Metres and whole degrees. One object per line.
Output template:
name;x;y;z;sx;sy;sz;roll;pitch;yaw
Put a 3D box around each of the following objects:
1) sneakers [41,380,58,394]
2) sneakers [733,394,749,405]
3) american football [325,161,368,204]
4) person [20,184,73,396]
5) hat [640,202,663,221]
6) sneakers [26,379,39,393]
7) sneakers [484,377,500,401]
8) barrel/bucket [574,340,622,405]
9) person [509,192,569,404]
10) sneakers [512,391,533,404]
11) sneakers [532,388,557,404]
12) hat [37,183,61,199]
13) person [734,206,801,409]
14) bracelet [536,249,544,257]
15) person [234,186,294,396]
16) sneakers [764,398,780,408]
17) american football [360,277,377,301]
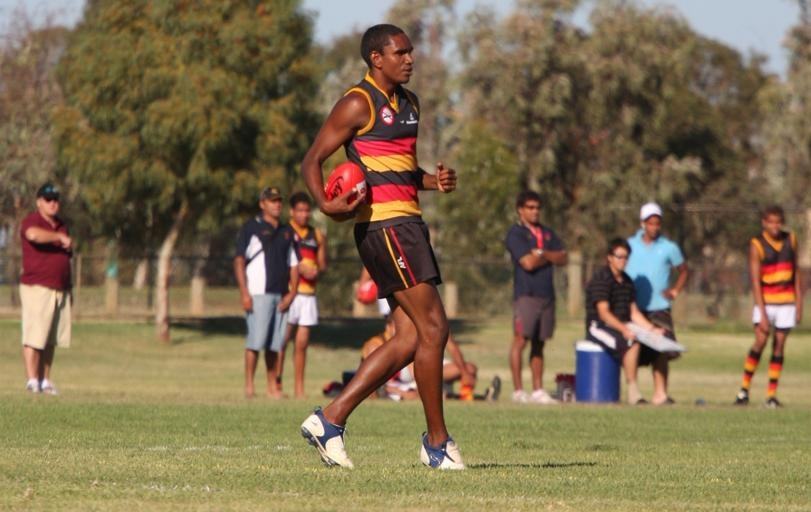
sneakers;-4.838;1.780;25.540;0.103;0.137;0.316;1;-10;45
sneakers;4.648;1.977;25.727;0.194;0.133;0.162;0;-6;11
american football;-0.663;-0.880;21.639;0.272;0.468;0.372;32;26;6
person;-4.921;0.456;25.694;0.714;2.859;0.561;2;-6;-12
hat;3.481;-0.631;26.203;0.249;0.200;0.247;-4;5;-40
sneakers;-5.067;1.774;25.527;0.174;0.175;0.126;-8;-8;36
sneakers;1.307;1.840;26.516;0.217;0.334;0.121;26;20;-2
barrel/bucket;2.774;1.620;26.067;0.735;0.825;0.759;1;-2;0
person;1.809;0.560;26.106;0.789;2.951;0.422;1;-6;2
sneakers;1.656;1.947;26.057;0.115;0.125;0.299;-3;2;-39
sneakers;1.934;1.946;25.954;0.390;0.165;0.147;0;2;37
hat;-4.924;-0.893;25.809;0.211;0.162;0.296;3;-7;-37
person;5.063;0.694;25.828;0.841;2.756;0.452;0;-6;10
bracelet;1.899;-0.045;26.001;0.093;0.103;0.051;7;4;0
person;-1.958;0.514;26.303;0.843;2.903;0.336;2;-6;-8
sneakers;5.085;1.994;25.568;0.254;0.122;0.198;3;-6;-18
american football;-0.523;0.535;28.097;0.307;0.455;0.161;-2;-3;24
